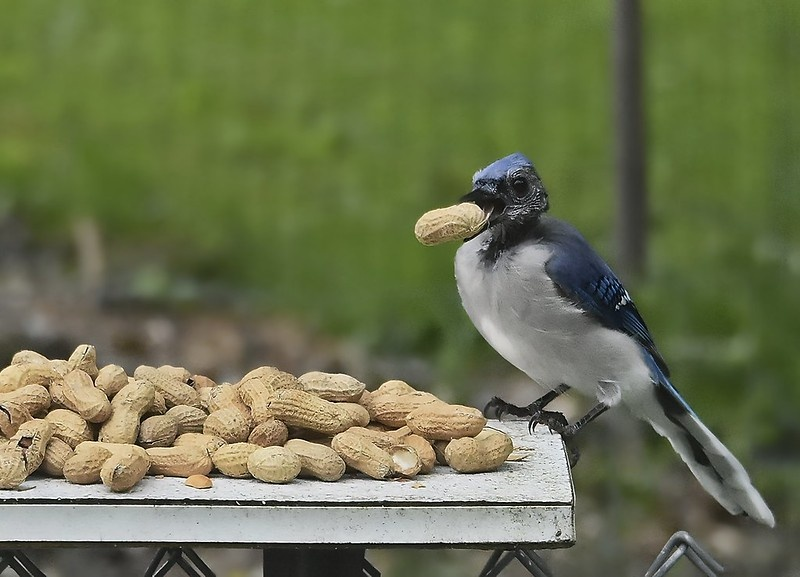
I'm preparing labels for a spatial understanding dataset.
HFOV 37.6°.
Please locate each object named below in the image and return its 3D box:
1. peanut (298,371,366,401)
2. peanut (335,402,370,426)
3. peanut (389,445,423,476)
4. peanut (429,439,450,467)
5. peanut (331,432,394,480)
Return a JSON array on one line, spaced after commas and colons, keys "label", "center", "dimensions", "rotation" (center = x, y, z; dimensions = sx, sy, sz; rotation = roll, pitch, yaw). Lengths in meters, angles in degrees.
[{"label": "peanut", "center": [-0.169, 0.237, 2.778], "dimensions": [0.121, 0.051, 0.074], "rotation": [11, -4, 12]}, {"label": "peanut", "center": [-0.110, 0.291, 2.721], "dimensions": [0.078, 0.045, 0.039], "rotation": [19, -20, -9]}, {"label": "peanut", "center": [0.009, 0.378, 2.591], "dimensions": [0.052, 0.064, 0.028], "rotation": [-24, -40, -13]}, {"label": "peanut", "center": [0.087, 0.370, 2.672], "dimensions": [0.028, 0.054, 0.044], "rotation": [-12, 7, -3]}, {"label": "peanut", "center": [-0.081, 0.367, 2.637], "dimensions": [0.139, 0.071, 0.061], "rotation": [35, -12, 20]}]
